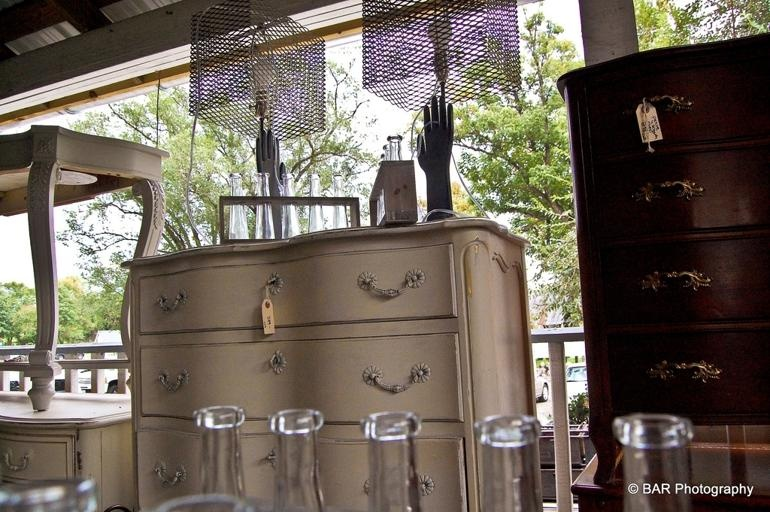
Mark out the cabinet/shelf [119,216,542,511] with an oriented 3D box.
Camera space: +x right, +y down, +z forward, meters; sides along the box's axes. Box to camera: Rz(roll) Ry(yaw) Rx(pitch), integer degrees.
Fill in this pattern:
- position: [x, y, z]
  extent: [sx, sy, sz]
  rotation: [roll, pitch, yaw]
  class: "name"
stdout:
- position: [-0.176, 0.359, 2.209]
  extent: [1.061, 1.007, 0.457]
  rotation: [-3, -9, 22]
  class: "cabinet/shelf"
